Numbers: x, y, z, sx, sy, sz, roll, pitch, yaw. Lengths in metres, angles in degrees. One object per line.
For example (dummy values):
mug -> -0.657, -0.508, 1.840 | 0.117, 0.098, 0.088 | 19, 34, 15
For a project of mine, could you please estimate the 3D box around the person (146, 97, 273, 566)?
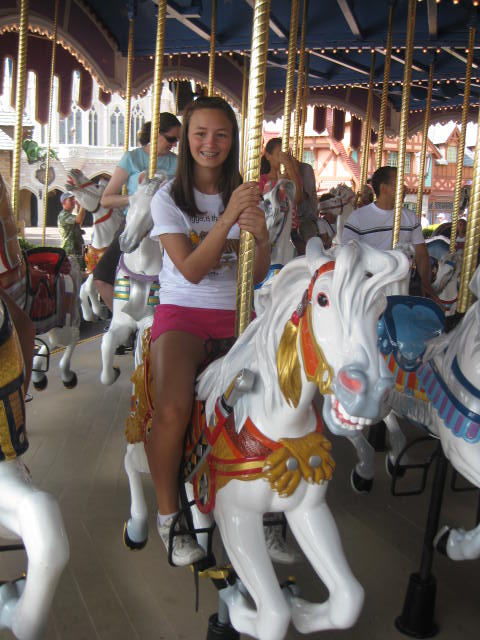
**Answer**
person -> -0.091, -0.013, 1.638 | 0.381, 1.369, 0.579 | 1, 7, -11

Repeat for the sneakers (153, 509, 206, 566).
sneakers -> -0.180, 0.602, 1.505 | 0.085, 0.101, 0.234 | 0, -5, -24

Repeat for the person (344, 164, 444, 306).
person -> 1.124, -0.668, 3.911 | 0.716, 0.957, 0.739 | 4, 7, 9
